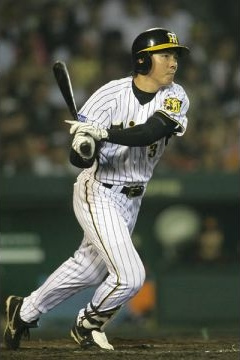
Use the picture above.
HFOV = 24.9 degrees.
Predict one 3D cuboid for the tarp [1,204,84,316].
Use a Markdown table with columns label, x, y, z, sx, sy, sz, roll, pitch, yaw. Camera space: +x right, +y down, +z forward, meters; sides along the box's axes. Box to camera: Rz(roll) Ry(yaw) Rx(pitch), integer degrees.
| label | x | y | z | sx | sy | sz | roll | pitch | yaw |
| --- | --- | --- | --- | --- | --- | --- | --- | --- | --- |
| tarp | -0.773 | 0.684 | 5.061 | 0.928 | 0.984 | 0.386 | -14 | 19 | -5 |
